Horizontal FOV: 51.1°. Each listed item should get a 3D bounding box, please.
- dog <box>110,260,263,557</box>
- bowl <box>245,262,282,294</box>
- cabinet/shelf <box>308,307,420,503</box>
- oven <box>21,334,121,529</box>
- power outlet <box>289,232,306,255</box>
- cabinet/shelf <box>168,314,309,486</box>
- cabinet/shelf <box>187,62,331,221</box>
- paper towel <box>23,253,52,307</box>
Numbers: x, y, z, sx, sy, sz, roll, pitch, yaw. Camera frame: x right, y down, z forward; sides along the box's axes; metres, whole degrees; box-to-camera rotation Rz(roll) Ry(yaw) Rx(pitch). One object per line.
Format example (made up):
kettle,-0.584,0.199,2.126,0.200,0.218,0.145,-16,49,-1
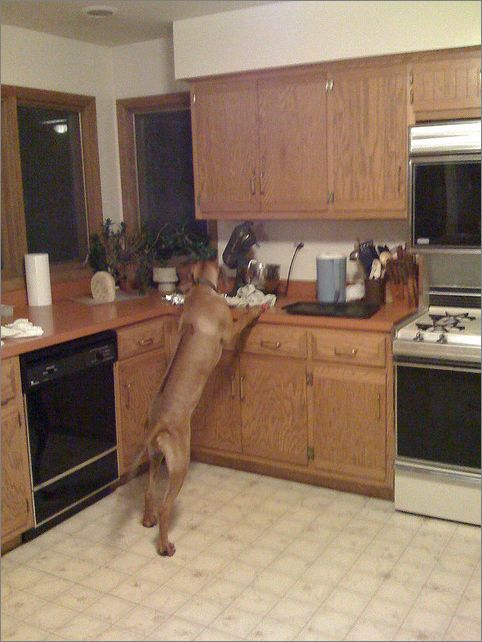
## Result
dog,-0.261,0.310,2.199,0.382,1.165,0.828,0,2,32
bowl,0.130,-0.245,2.810,0.167,0.192,0.129,2,11,3
cabinet/shelf,0.564,0.341,2.532,0.336,0.880,0.514,0,15,14
oven,-0.801,0.391,2.299,0.435,0.891,0.383,-12,29,-37
power outlet,0.324,-0.452,2.885,0.075,0.129,0.040,0,-5,37
cabinet/shelf,0.019,0.398,2.774,0.750,1.045,0.550,1,18,9
cabinet/shelf,0.115,-0.933,2.561,0.524,0.672,0.237,4,12,22
paper towel,-1.105,-0.217,2.747,0.132,0.283,0.237,-2,2,-25
